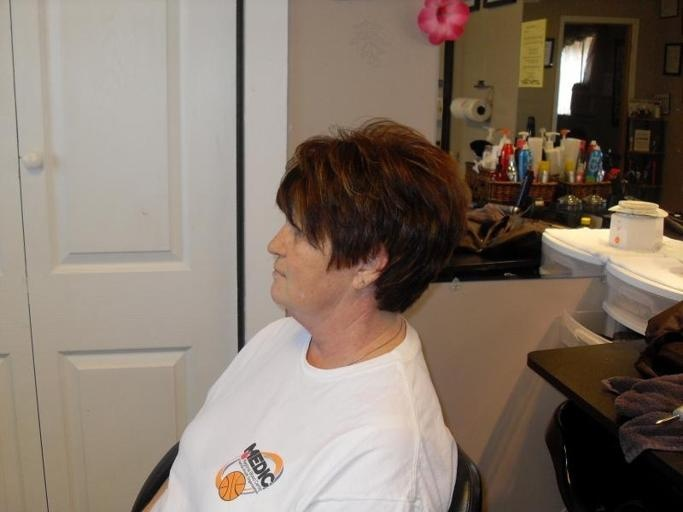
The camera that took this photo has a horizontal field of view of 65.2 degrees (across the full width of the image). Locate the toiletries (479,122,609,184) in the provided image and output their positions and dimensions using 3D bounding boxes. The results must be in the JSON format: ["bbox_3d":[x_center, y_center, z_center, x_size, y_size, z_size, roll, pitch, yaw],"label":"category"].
[{"bbox_3d":[0.752,-0.327,1.821,0.293,0.184,0.185,18,19,4],"label":"toiletries"}]
